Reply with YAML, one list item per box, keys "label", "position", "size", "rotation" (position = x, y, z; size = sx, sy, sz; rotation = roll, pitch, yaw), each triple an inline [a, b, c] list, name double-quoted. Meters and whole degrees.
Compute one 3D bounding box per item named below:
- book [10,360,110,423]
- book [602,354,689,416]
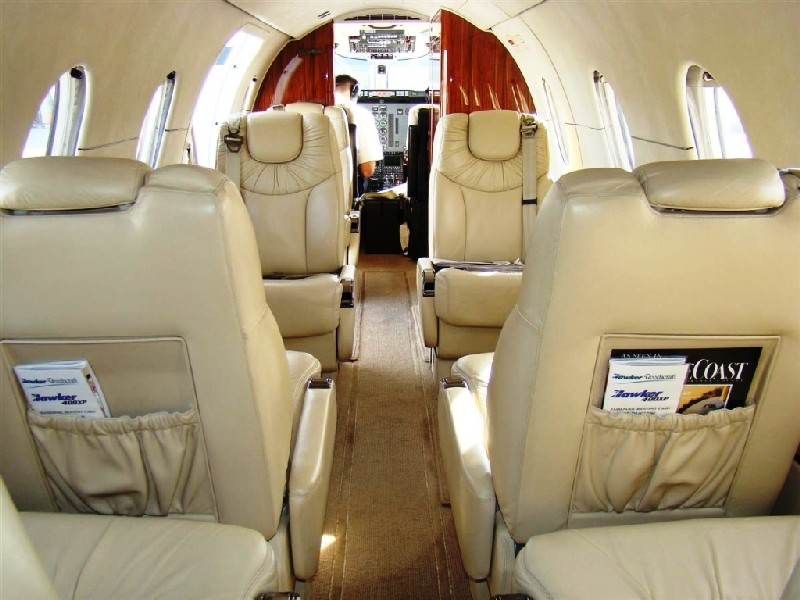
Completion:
- label: "book"
  position: [-0.887, 0.228, 1.595]
  size: [0.146, 0.186, 0.029]
  rotation: [-4, 33, 3]
- label: "book"
  position: [0.621, 0.223, 1.573]
  size: [0.146, 0.177, 0.039]
  rotation: [0, 21, 1]
